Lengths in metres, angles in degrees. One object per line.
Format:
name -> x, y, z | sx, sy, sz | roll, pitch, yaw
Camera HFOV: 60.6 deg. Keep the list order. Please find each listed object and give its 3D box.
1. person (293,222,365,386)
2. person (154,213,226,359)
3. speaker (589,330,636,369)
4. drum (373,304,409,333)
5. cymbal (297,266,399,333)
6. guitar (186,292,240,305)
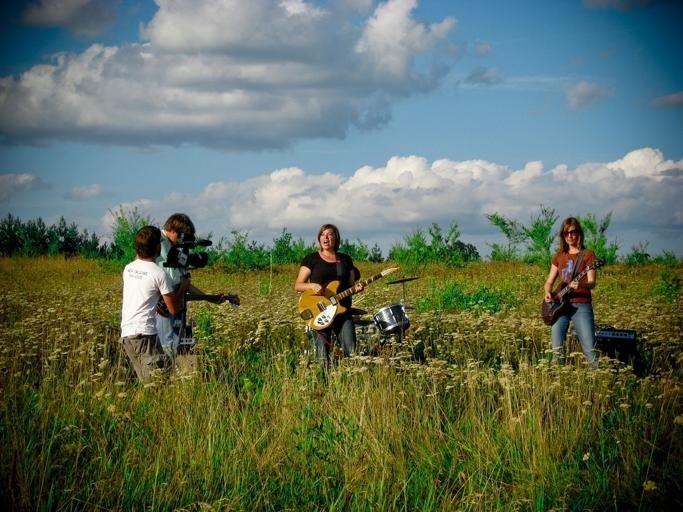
person -> -0.130, 0.879, 8.597 | 0.758, 2.846, 0.807 | -4, -2, -11
person -> -2.243, 0.822, 8.283 | 0.681, 2.846, 0.821 | -10, -13, 40
speaker -> 4.157, 1.592, 8.881 | 0.771, 0.934, 0.484 | -1, -14, 25
drum -> 0.745, 0.946, 8.828 | 0.400, 0.355, 0.452 | -20, -22, 4
cymbal -> -0.150, 0.577, 8.659 | 0.735, 0.948, 0.884 | 0, 2, -14
guitar -> -2.015, 0.636, 8.861 | 0.710, 0.187, 1.843 | -1, 0, -16
